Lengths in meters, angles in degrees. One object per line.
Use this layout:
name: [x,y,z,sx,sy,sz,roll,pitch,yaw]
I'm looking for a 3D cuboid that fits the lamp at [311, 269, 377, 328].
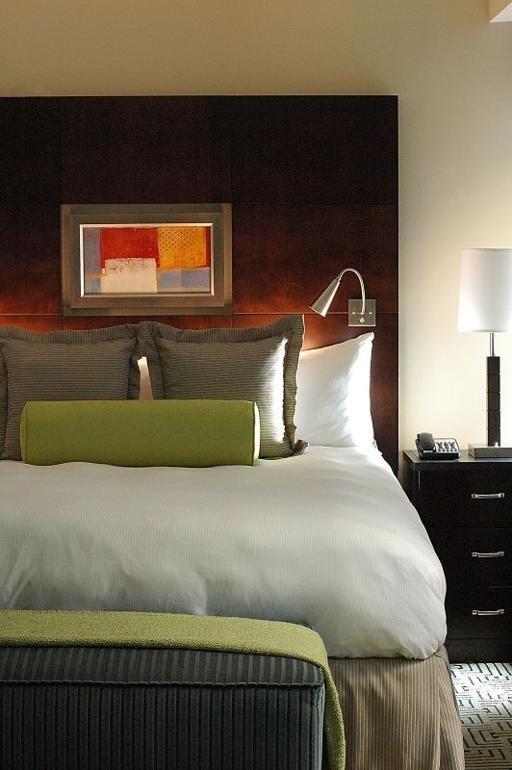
lamp: [0.370,-0.386,3.151,0.300,0.268,0.148,2,10,-19]
